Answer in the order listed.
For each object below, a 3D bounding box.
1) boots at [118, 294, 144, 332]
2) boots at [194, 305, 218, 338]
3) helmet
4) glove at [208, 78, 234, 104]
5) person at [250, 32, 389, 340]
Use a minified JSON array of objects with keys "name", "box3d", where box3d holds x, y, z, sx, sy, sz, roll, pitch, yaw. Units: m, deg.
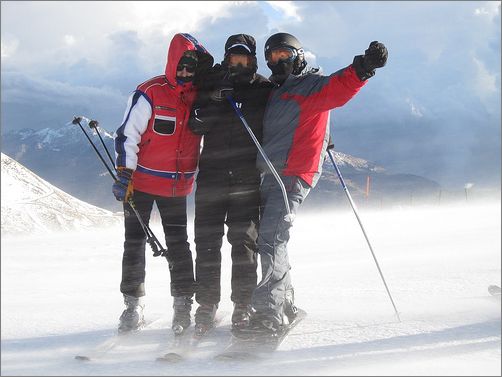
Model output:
[{"name":"boots","box3d":[-1.527,1.562,5.837,0.220,0.452,0.582,0,7,2]},{"name":"boots","box3d":[-0.541,1.604,5.643,0.146,0.182,0.422,13,39,0]},{"name":"helmet","box3d":[0.411,-1.687,5.871,0.506,0.538,0.583,-7,16,25]},{"name":"glove","box3d":[-0.340,-1.184,5.681,0.239,0.127,0.308,28,48,36]},{"name":"person","box3d":[0.573,-0.135,5.495,1.309,3.558,1.398,-1,-5,-6]}]
